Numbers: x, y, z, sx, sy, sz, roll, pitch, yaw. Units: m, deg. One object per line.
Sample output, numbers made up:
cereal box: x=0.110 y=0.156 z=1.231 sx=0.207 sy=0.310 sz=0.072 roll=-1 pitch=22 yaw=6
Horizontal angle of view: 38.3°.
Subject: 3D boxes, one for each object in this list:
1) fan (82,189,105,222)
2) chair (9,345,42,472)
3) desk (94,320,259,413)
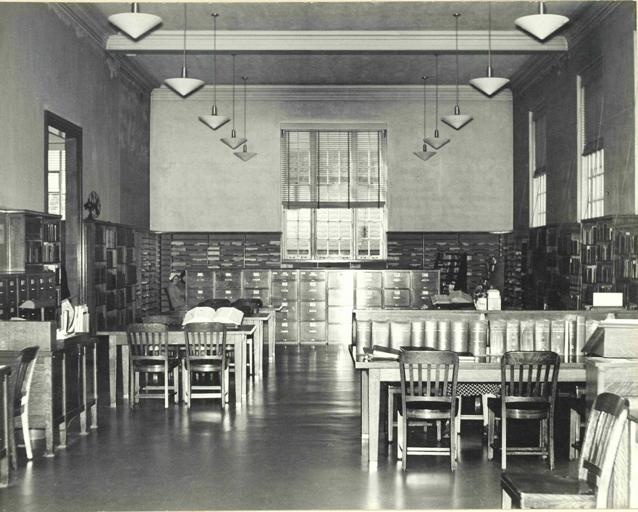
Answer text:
fan: x=-3.502 y=-0.775 z=14.201 sx=0.235 sy=0.551 sz=0.494 roll=-3 pitch=-6 yaw=11
chair: x=-2.992 y=1.492 z=9.399 sx=0.333 sy=1.209 sz=0.731 roll=-5 pitch=14 yaw=-18
desk: x=-1.760 y=1.276 z=11.844 sx=1.036 sy=0.676 sz=1.337 roll=-19 pitch=1 yaw=-43
